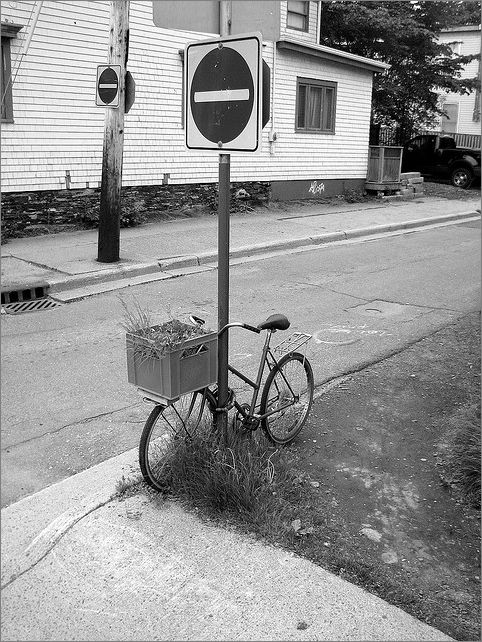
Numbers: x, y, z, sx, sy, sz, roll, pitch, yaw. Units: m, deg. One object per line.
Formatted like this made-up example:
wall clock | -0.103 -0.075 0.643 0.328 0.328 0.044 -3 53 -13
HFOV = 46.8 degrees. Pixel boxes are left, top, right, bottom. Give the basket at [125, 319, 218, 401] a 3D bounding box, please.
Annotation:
basket | -0.406 0.222 3.026 0.347 0.345 0.352 -10 13 -42

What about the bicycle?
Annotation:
bicycle | -0.107 0.373 3.662 0.583 1.332 1.517 4 10 38

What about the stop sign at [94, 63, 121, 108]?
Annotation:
stop sign | -2.137 -3.766 8.851 0.407 0.088 0.760 -15 -27 -26

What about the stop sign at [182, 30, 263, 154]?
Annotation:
stop sign | -0.102 -1.169 2.879 0.406 0.774 0.031 -1 -21 1
